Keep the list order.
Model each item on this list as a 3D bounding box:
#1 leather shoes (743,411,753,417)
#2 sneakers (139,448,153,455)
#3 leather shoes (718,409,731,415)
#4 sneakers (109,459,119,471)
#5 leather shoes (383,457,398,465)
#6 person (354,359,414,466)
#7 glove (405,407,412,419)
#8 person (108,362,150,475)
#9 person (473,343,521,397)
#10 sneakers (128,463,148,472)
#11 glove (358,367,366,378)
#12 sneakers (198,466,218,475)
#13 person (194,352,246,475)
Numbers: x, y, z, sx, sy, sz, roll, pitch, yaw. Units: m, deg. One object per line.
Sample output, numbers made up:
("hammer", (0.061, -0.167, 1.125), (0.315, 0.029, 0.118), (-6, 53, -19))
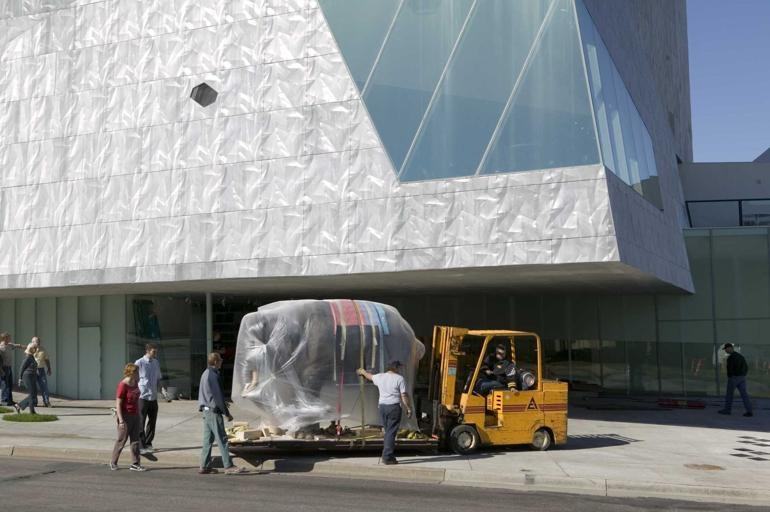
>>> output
("leather shoes", (13.083, 5.726, 33.089), (0.130, 0.172, 0.383), (0, 1, -43))
("sneakers", (-6.874, 5.706, 26.649), (0.371, 0.186, 0.137), (1, -5, -2))
("leather shoes", (12.364, 5.707, 33.454), (0.297, 0.138, 0.146), (2, -2, 27))
("sneakers", (-7.440, 5.827, 25.421), (0.230, 0.245, 0.248), (6, -13, -18))
("leather shoes", (0.183, 5.786, 25.773), (0.353, 0.167, 0.181), (0, -1, -18))
("person", (0.067, 4.465, 26.099), (1.286, 2.881, 0.548), (1, -11, 5))
("glove", (0.699, 4.528, 26.450), (0.252, 0.219, 0.756), (1, -11, 3))
("person", (-7.040, 4.500, 25.569), (0.926, 2.889, 0.720), (11, -14, -38))
("person", (3.411, 3.552, 28.194), (0.843, 1.508, 1.505), (21, -15, -26))
("sneakers", (-6.788, 5.865, 25.416), (0.476, 0.243, 0.182), (1, -5, 12))
("glove", (-0.647, 3.376, 26.414), (0.240, 0.126, 0.353), (4, -1, 7))
("sneakers", (-4.847, 5.912, 25.352), (0.558, 0.258, 0.195), (1, -2, -21))
("person", (-4.588, 4.399, 25.658), (1.036, 3.331, 0.958), (0, -11, 12))
